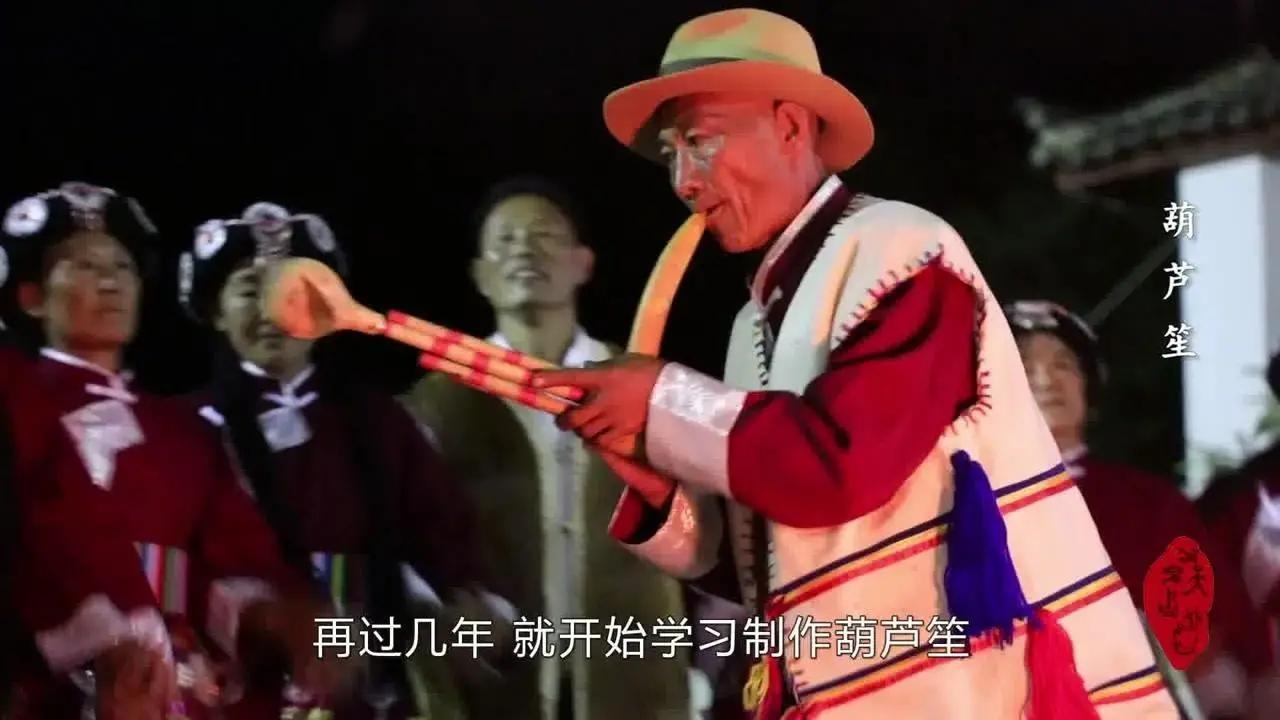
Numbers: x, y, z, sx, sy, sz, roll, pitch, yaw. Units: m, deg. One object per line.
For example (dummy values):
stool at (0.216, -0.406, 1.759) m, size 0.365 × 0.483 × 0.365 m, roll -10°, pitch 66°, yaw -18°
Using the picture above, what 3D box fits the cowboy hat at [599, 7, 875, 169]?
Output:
cowboy hat at (0.478, -1.192, 7.350) m, size 1.066 × 0.319 × 0.766 m, roll 8°, pitch -23°, yaw -10°

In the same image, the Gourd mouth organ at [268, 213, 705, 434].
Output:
Gourd mouth organ at (-0.522, -0.198, 7.126) m, size 2.041 × 0.601 × 0.463 m, roll 14°, pitch 26°, yaw -5°
